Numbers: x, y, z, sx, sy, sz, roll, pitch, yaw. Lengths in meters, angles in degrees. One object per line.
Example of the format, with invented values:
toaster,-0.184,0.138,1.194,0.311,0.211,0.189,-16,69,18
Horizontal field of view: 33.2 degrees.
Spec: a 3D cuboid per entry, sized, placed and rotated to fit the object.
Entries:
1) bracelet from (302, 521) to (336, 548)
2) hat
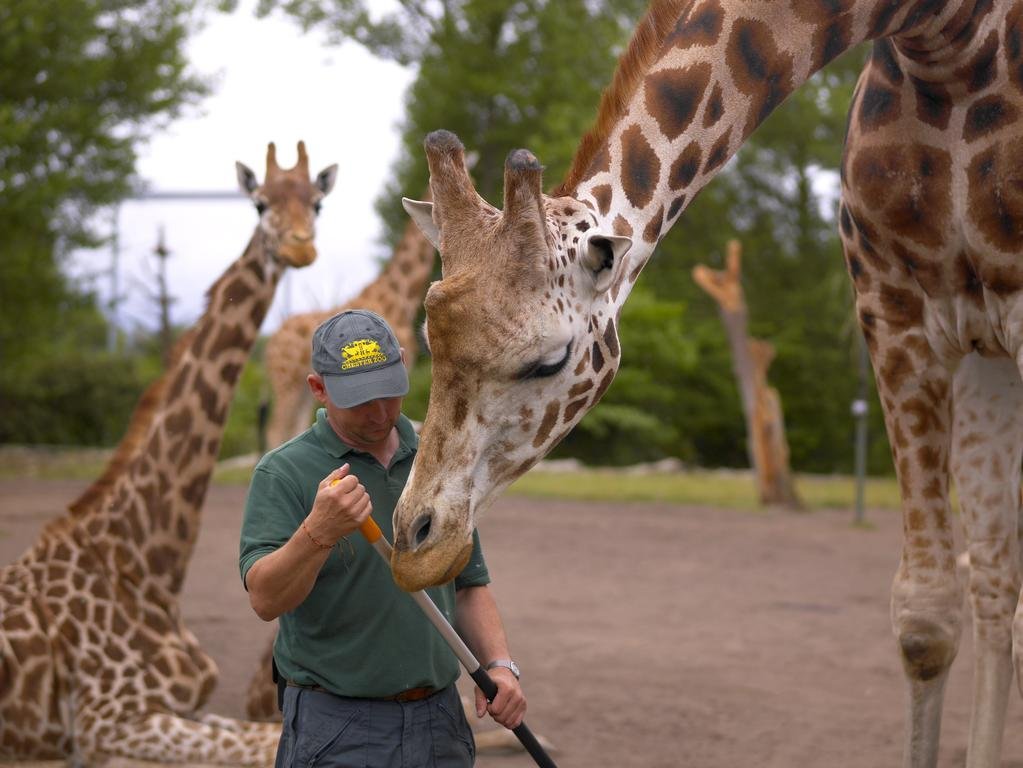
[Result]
bracelet,-0.701,0.569,6.259,0.090,0.024,0.096,35,23,-3
hat,-0.581,-0.092,6.518,0.253,0.240,0.415,-9,31,-13
